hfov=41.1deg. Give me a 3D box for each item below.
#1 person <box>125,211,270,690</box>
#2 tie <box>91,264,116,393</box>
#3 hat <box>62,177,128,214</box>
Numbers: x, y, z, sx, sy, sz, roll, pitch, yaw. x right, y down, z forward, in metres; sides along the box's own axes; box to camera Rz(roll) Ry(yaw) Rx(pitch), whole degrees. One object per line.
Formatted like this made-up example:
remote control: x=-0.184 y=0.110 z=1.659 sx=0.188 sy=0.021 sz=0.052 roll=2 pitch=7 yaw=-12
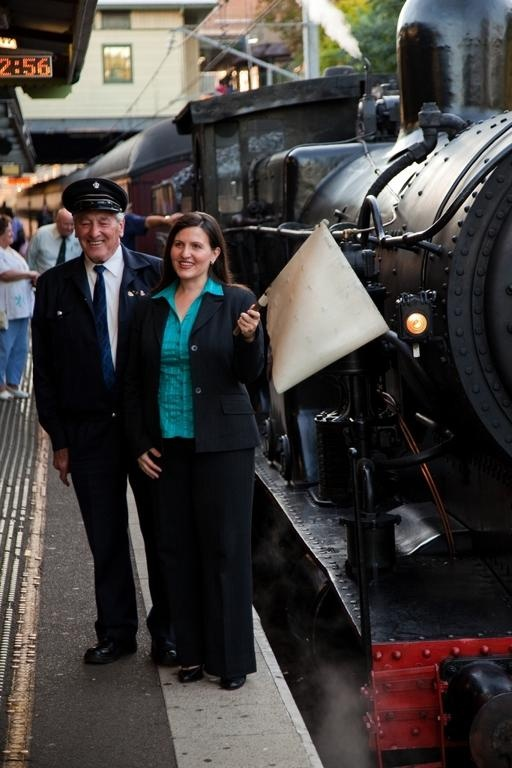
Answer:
person: x=-0.136 y=0.231 z=2.283 sx=0.592 sy=1.456 sz=0.320 roll=-4 pitch=2 yaw=33
tie: x=-0.549 y=-0.195 z=2.455 sx=0.055 sy=0.442 sz=0.058 roll=-6 pitch=2 yaw=-11
hat: x=-0.579 y=-0.677 z=2.452 sx=0.229 sy=0.133 sz=0.236 roll=-5 pitch=2 yaw=-12
